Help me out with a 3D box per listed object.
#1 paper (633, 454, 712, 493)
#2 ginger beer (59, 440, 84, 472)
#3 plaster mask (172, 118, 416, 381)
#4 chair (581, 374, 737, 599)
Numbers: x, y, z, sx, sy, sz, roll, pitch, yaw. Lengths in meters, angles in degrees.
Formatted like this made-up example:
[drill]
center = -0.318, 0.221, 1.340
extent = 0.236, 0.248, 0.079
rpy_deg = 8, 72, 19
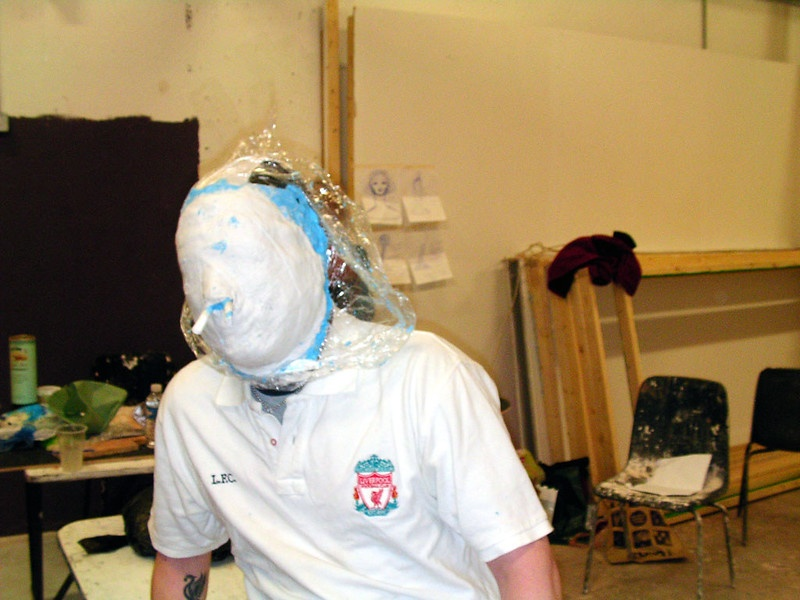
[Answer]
[paper]
center = 1.515, 0.967, 4.182
extent = 0.331, 0.161, 0.406
rpy_deg = -1, 1, 36
[ginger beer]
center = -1.496, 0.678, 3.424
extent = 0.100, 0.190, 0.183
rpy_deg = -3, 1, -26
[plaster mask]
center = -0.322, -0.094, 2.348
extent = 0.710, 0.752, 0.227
rpy_deg = -2, 2, -16
[chair]
center = 1.482, 0.785, 4.204
extent = 0.626, 0.638, 0.621
rpy_deg = -1, 1, 26
